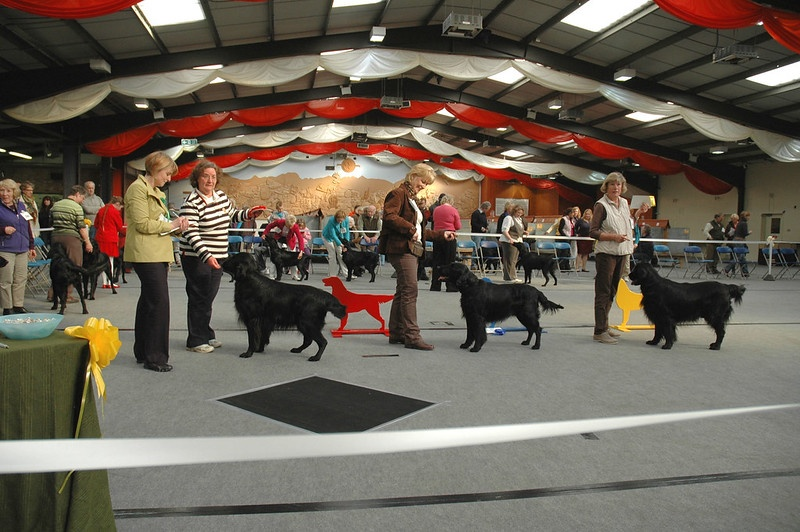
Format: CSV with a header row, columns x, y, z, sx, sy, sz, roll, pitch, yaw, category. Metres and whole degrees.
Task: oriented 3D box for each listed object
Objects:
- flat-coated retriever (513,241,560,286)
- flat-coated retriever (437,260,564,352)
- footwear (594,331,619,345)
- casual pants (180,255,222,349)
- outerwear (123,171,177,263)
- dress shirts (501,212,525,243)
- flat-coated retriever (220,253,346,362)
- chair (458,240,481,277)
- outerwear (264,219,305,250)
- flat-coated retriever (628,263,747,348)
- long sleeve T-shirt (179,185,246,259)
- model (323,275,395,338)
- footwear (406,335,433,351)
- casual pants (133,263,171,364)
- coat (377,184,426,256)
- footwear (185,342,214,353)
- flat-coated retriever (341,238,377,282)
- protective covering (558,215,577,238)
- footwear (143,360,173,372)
x,y,z,sx,sy,sz,roll,pitch,yaw,category
2.836,-0.013,12.281,0.986,0.775,0.299,12,15,34,flat-coated retriever
1.121,0.479,6.466,1.410,0.933,0.378,2,3,-5,flat-coated retriever
2.407,0.855,6.867,0.362,0.152,0.122,-1,5,13,footwear
-2.067,0.366,6.042,0.374,1.010,0.451,-3,12,-20,casual pants
-2.376,-0.440,5.442,0.410,0.813,0.365,-3,12,-23,outerwear
2.197,-0.762,11.448,0.373,0.624,0.720,1,3,36,dress shirts
-1.241,0.431,6.019,1.346,1.056,0.406,3,3,1,flat-coated retriever
1.820,-0.267,15.526,0.751,1.228,0.947,-1,-1,-5,chair
-2.397,-0.636,11.951,0.540,0.457,0.649,7,-33,-18,outerwear
3.742,0.525,7.540,0.971,0.760,0.326,1,7,3,flat-coated retriever
-1.950,-0.413,6.235,0.690,0.881,0.726,-3,-4,43,long sleeve T-shirt
-0.535,0.506,6.948,0.929,0.700,0.562,2,-1,-9,model
0.186,0.853,6.435,0.337,0.220,0.125,-2,-3,7,footwear
-2.362,0.452,5.505,0.305,1.003,0.451,-5,13,-30,casual pants
-0.017,-0.528,6.778,0.661,1.157,0.784,0,4,-1,coat
-2.128,0.861,6.115,0.243,0.100,0.102,0,2,-4,footwear
-0.946,-0.102,12.359,0.944,0.839,0.360,4,5,6,flat-coated retriever
4.373,-1.033,15.241,0.706,0.637,0.421,-1,-2,-40,protective covering
-2.268,0.931,5.441,0.200,0.081,0.107,-1,-1,14,footwear
